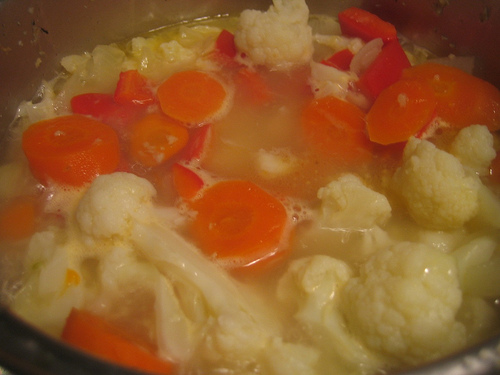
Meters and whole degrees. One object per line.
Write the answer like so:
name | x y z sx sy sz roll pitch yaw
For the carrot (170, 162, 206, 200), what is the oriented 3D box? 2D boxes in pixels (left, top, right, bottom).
carrot | -0.301 -0.027 2.713 0.172 0.156 0.074 0 37 6

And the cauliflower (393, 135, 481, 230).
cauliflower | 0.832 0.012 2.489 0.407 0.262 0.282 27 65 20

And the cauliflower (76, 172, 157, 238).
cauliflower | -0.620 0.090 2.563 0.354 0.149 0.266 -10 58 0

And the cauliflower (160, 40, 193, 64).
cauliflower | -0.445 -0.741 3.154 0.211 0.208 0.057 -10 77 -14

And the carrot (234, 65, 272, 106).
carrot | 0.007 -0.550 2.995 0.171 0.052 0.227 -3 64 -2

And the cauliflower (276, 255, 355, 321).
cauliflower | 0.275 0.408 2.389 0.267 0.089 0.282 25 80 40

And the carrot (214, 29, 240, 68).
carrot | -0.117 -0.765 3.145 0.113 0.191 0.156 -17 37 -19
